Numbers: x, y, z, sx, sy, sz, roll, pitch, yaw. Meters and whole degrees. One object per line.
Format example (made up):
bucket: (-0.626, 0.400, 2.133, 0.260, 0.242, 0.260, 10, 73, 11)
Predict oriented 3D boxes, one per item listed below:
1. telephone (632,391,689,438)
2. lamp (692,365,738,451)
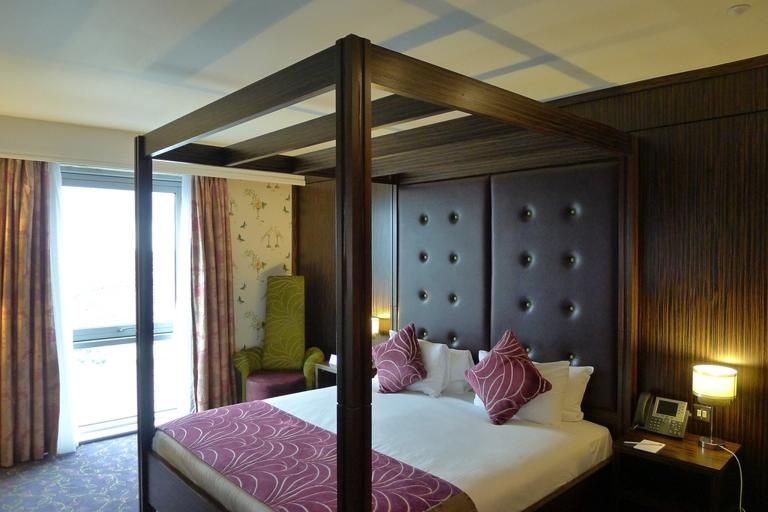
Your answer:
telephone: (2.114, 1.213, 4.208, 0.354, 0.215, 0.286, 9, -37, 21)
lamp: (2.418, 1.096, 4.032, 0.282, 0.571, 0.271, 1, 3, 32)
